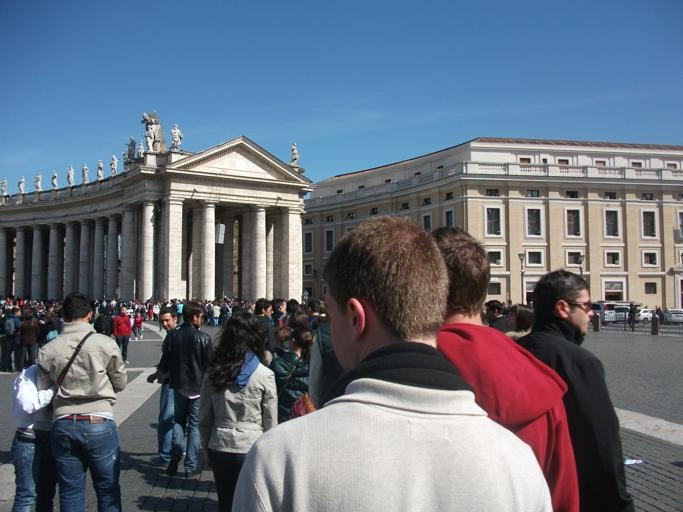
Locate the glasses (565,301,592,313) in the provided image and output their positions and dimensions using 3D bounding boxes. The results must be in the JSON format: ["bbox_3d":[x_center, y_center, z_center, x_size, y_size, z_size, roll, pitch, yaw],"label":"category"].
[{"bbox_3d":[1.935,0.407,6.180,0.097,0.073,0.281,-4,-2,43],"label":"glasses"}]
